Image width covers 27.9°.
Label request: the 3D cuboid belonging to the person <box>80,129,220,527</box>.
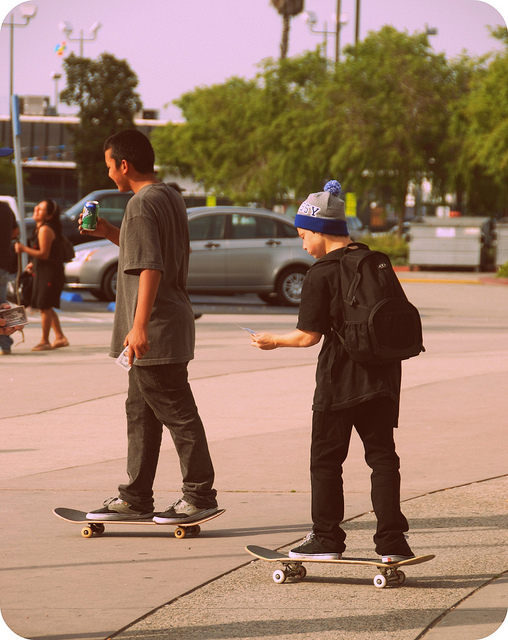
[{"bbox_3d":[-0.503,0.027,4.726,0.589,1.823,0.489,-2,5,-25],"label":"person"}]

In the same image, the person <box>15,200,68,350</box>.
[{"bbox_3d":[-2.312,-0.499,11.257,0.494,1.640,0.584,-1,5,-8],"label":"person"}]

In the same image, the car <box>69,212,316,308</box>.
[{"bbox_3d":[-1.149,-0.949,16.789,4.101,1.353,1.641,1,2,-13],"label":"car"}]

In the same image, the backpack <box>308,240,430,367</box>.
[{"bbox_3d":[0.462,-0.069,4.208,0.517,0.568,0.477,-4,0,37],"label":"backpack"}]

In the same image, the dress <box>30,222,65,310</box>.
[{"bbox_3d":[-2.296,-0.420,11.333,0.413,1.311,0.617,2,4,1],"label":"dress"}]

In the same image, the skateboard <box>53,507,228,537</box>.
[{"bbox_3d":[-0.483,0.932,4.743,0.861,0.133,0.255,1,1,2],"label":"skateboard"}]
